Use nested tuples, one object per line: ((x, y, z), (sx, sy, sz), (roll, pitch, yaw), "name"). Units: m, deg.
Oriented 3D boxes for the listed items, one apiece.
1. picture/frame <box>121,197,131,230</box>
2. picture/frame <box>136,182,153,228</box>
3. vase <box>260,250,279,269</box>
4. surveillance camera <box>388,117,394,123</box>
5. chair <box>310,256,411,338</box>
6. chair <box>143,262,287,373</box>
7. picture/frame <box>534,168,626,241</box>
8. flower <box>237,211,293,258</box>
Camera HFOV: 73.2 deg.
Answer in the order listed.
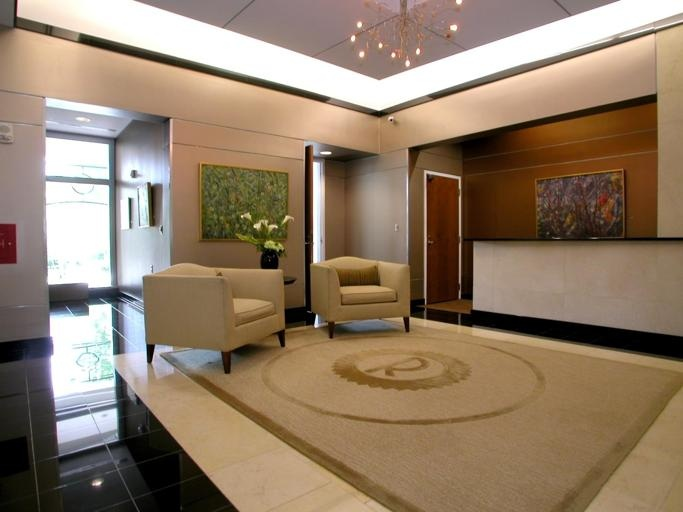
((-4.038, -0.796, 8.600), (0.067, 0.749, 0.619), (-1, 0, -33), "picture/frame")
((-3.162, -0.824, 7.385), (0.108, 0.870, 0.690), (2, -7, -34), "picture/frame")
((-0.911, 0.037, 5.772), (0.212, 0.282, 0.217), (-2, 4, -29), "vase")
((0.866, -2.396, 8.067), (0.094, 0.098, 0.024), (7, 9, 32), "surveillance camera")
((0.215, 0.526, 6.209), (1.240, 1.028, 1.156), (0, -1, -28), "chair")
((-1.335, 0.547, 5.026), (1.115, 1.173, 1.228), (0, 1, 21), "chair")
((3.862, -0.826, 7.344), (0.056, 0.977, 1.202), (-1, 1, -41), "picture/frame")
((-1.090, -0.319, 6.615), (0.669, 0.650, 0.688), (0, 4, -27), "flower")
